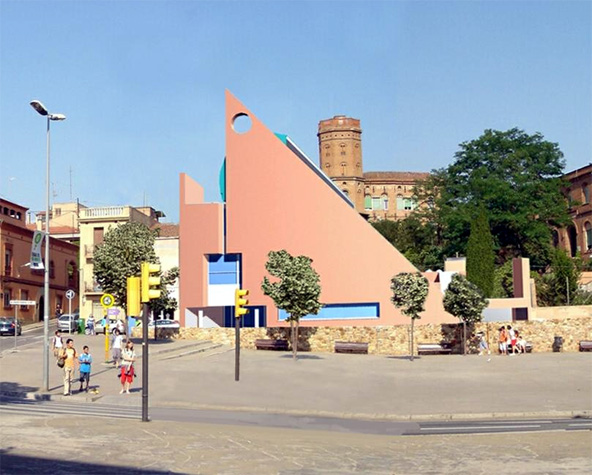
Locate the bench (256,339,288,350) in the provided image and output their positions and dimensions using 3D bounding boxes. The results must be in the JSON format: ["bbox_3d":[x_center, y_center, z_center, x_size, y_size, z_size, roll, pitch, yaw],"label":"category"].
[{"bbox_3d":[-1.497,6.717,60.265,2.040,0.762,0.816,-2,-8,4],"label":"bench"}]

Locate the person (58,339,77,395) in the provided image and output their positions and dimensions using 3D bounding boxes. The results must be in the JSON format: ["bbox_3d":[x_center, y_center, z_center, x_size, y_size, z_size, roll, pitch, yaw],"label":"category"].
[{"bbox_3d":[-9.977,5.562,42.511,0.882,2.296,0.753,5,22,-1],"label":"person"}]

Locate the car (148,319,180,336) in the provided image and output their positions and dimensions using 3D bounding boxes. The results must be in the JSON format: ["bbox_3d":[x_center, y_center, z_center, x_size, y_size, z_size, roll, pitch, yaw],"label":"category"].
[{"bbox_3d":[-9.158,6.214,64.243,2.674,1.256,0.915,2,4,23],"label":"car"}]

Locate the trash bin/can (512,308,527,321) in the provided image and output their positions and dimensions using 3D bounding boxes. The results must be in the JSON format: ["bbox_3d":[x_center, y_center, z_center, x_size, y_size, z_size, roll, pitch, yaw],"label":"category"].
[{"bbox_3d":[14.592,5.001,62.824,0.463,0.840,1.963,0,-8,-7],"label":"trash bin/can"}]

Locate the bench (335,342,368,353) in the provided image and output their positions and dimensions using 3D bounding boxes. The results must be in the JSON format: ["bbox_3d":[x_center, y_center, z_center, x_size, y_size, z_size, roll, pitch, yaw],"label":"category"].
[{"bbox_3d":[3.348,6.881,59.485,2.255,0.679,0.805,2,-3,-4],"label":"bench"}]

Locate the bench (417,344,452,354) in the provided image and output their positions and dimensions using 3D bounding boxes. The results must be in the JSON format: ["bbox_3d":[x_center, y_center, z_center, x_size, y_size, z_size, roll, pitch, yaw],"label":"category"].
[{"bbox_3d":[8.647,7.048,60.568,2.119,0.616,1.238,-1,-8,0],"label":"bench"}]

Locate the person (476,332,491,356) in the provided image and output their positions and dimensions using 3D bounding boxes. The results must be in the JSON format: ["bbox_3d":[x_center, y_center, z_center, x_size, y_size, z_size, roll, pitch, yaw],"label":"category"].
[{"bbox_3d":[11.764,6.652,60.869,0.759,1.446,1.281,-3,-8,17],"label":"person"}]

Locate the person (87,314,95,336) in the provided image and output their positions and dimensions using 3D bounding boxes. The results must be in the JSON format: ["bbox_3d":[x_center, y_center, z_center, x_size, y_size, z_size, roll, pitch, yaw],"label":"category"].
[{"bbox_3d":[-15.125,6.561,71.399,0.514,1.309,1.983,0,-8,-11],"label":"person"}]
